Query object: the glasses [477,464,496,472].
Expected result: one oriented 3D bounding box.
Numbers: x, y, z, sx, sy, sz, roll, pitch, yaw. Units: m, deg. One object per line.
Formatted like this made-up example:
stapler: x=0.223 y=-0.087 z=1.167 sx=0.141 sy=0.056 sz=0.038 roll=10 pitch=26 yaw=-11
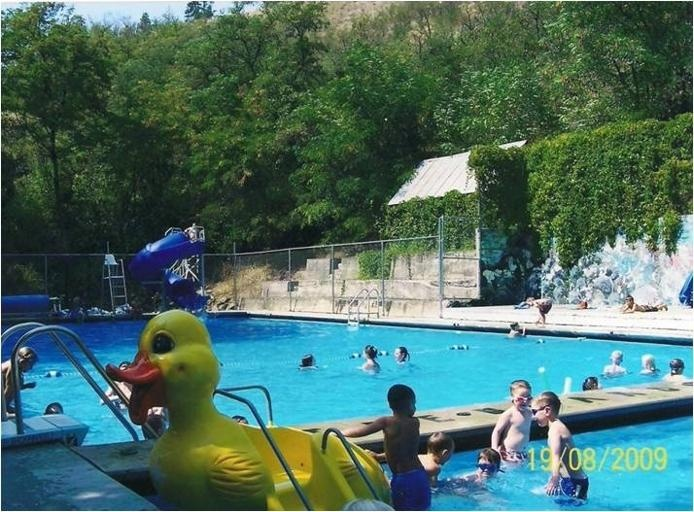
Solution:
glasses: x=3.261 y=4.958 z=23.214 sx=0.407 sy=0.182 sz=0.078 roll=-2 pitch=1 yaw=10
